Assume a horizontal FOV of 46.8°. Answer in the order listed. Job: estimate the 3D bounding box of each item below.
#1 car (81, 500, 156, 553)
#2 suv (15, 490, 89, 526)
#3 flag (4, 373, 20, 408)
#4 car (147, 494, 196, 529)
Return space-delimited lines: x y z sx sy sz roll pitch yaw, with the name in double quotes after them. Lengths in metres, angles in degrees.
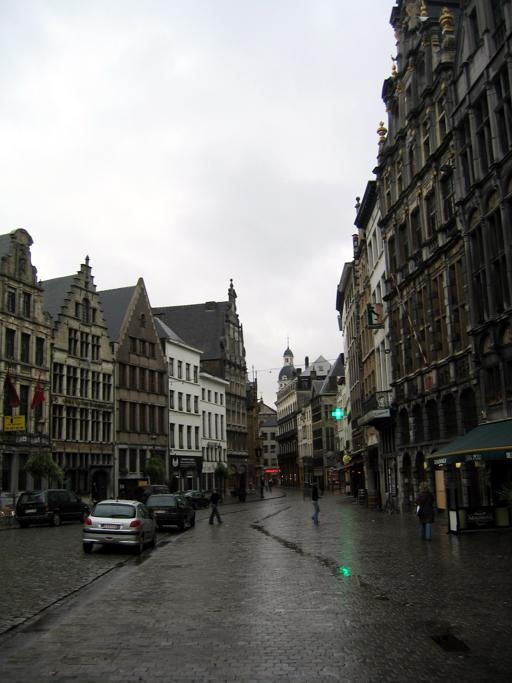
-4.041 5.760 18.391 1.295 1.122 2.348 -2 -9 4 "car"
-10.771 9.130 32.448 2.218 1.860 5.357 -7 -16 18 "suv"
-16.565 3.303 40.144 0.892 2.523 4.138 4 -16 -23 "flag"
-3.967 8.199 28.793 1.239 1.133 2.804 -2 -9 6 "car"
